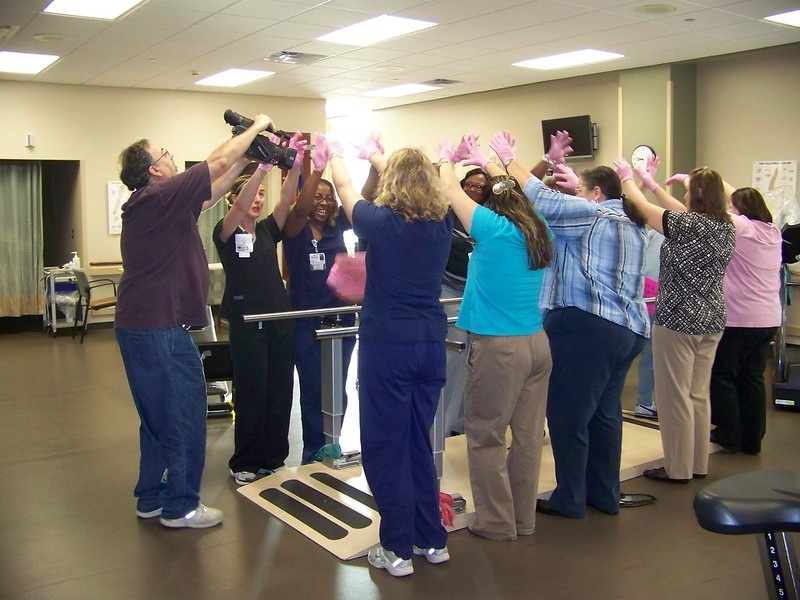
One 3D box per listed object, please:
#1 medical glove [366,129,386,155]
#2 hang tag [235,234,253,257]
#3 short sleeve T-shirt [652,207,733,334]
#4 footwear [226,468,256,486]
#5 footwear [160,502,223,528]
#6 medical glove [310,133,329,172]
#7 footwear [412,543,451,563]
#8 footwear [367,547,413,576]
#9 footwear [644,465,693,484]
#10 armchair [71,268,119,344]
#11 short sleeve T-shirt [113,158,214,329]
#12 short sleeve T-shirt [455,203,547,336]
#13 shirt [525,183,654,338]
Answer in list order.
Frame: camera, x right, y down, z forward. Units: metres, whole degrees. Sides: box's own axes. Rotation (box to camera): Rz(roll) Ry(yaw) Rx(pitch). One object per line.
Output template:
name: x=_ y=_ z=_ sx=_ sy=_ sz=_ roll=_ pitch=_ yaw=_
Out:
medical glove: x=-0.127 y=-0.830 z=3.066 sx=0.033 sy=0.115 sz=0.112 roll=10 pitch=13 yaw=44
hang tag: x=-1.007 y=-0.352 z=3.745 sx=0.143 sy=0.205 sz=0.022 roll=0 pitch=2 yaw=-12
short sleeve T-shirt: x=1.932 y=-0.165 z=3.768 sx=0.521 sy=0.813 sz=0.296 roll=0 pitch=7 yaw=8
footwear: x=-1.052 y=1.208 z=3.896 sx=0.074 sy=0.082 sz=0.182 roll=9 pitch=-11 yaw=-44
footwear: x=-1.164 y=1.250 z=3.268 sx=0.318 sy=0.143 sz=0.139 roll=-1 pitch=-1 yaw=-12
medical glove: x=-0.423 y=-0.794 z=3.122 sx=0.108 sy=0.234 sz=0.071 roll=6 pitch=39 yaw=-9
footwear: x=0.169 y=1.289 z=2.937 sx=0.150 sy=0.068 sz=0.085 roll=9 pitch=6 yaw=43
footwear: x=-0.045 y=1.291 z=2.903 sx=0.233 sy=0.113 sz=0.101 roll=12 pitch=13 yaw=36
footwear: x=1.789 y=1.166 z=3.832 sx=0.244 sy=0.077 sz=0.101 roll=6 pitch=5 yaw=34
armchair: x=-4.670 y=0.069 z=9.054 sx=0.689 sy=1.080 sz=0.667 roll=-3 pitch=9 yaw=-35
short sleeve T-shirt: x=-1.262 y=-0.272 z=3.098 sx=0.500 sy=0.878 sz=0.364 roll=-4 pitch=8 yaw=-22
short sleeve T-shirt: x=0.514 y=-0.145 z=2.981 sx=0.437 sy=0.670 sz=0.198 roll=1 pitch=7 yaw=12
shirt: x=1.011 y=-0.158 z=3.476 sx=1.015 sy=0.848 sz=0.750 roll=6 pitch=-1 yaw=-33
